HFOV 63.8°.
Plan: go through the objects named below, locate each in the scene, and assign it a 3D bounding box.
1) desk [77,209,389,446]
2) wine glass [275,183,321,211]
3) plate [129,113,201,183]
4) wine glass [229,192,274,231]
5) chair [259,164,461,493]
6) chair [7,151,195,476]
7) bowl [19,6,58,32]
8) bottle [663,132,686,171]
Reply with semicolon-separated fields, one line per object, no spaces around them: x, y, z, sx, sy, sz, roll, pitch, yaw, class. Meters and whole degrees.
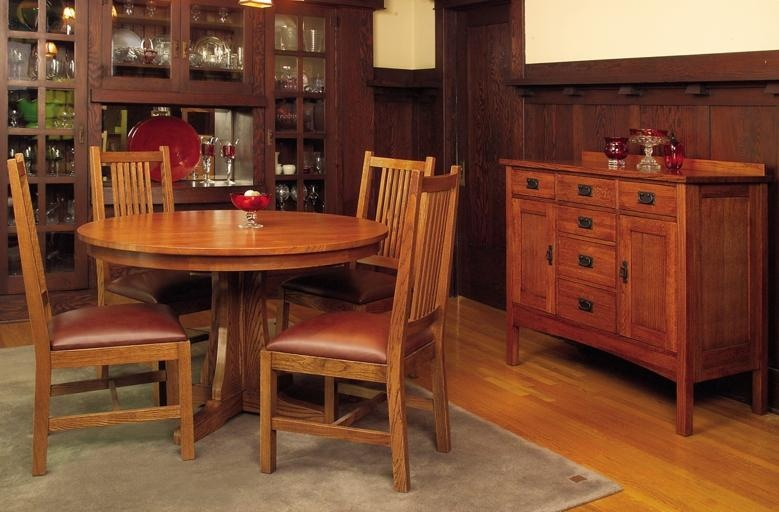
-0.792;0.124;3.039;1.319;0.770;1.265;0;2;-29;desk
-0.806;-0.513;5.385;0.366;0.312;0.121;1;0;-22;wine glass
-1.783;-0.890;5.092;0.623;0.569;0.123;10;-1;-33;plate
-0.713;-0.255;3.274;0.254;0.203;0.224;1;6;-5;wine glass
-0.114;0.298;2.757;0.936;1.332;0.591;-1;15;-8;chair
-1.317;0.236;2.880;0.730;1.373;0.628;-4;15;-18;chair
-2.535;-1.741;4.554;0.251;0.204;0.037;-4;16;-20;bowl
1.549;-0.551;3.416;0.100;0.169;0.246;5;15;16;bottle
